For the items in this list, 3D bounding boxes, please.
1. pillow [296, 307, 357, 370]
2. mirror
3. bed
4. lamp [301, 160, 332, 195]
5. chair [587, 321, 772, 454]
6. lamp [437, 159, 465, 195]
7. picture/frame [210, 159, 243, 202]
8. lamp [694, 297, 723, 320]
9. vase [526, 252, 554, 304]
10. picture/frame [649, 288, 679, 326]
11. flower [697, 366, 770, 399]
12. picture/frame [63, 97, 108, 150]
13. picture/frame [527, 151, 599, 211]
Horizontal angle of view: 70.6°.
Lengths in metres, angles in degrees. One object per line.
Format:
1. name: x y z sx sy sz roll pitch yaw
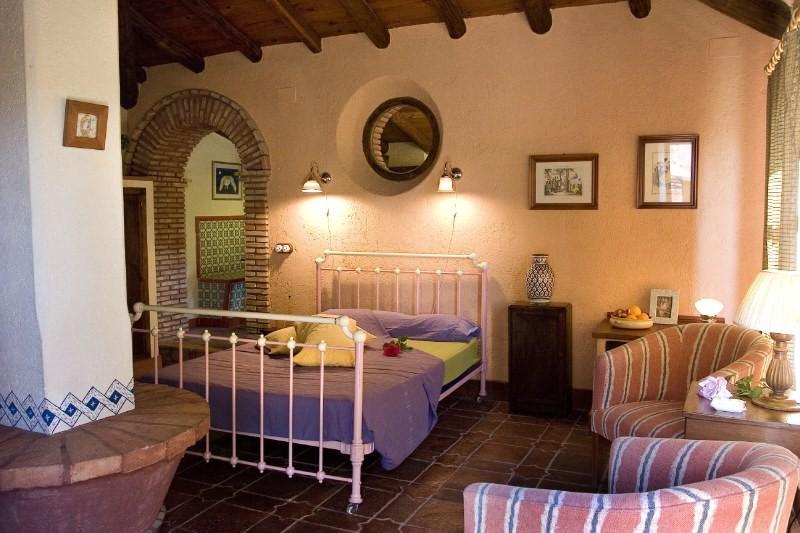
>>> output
1. pillow: -0.632 0.603 4.486 0.509 0.159 0.549 2 9 11
2. mirror: 0.039 -1.430 6.270 1.051 0.970 0.113 1 3 25
3. bed: -0.398 0.842 5.009 2.175 1.412 2.670 2 4 24
4. lamp: -0.914 -0.938 6.157 0.256 0.337 0.416 -6 -13 33
5. chair: 1.861 0.707 4.054 0.997 1.014 0.879 -1 4 -39
6. lamp: 0.509 -0.900 5.774 0.260 0.321 0.219 3 9 13
7. picture/frame: -2.720 -1.329 8.774 0.021 0.479 0.708 -7 8 21
8. lamp: 2.729 0.369 4.991 0.206 0.194 0.355 6 10 27
9. vase: 1.337 0.120 5.378 0.241 0.443 0.162 1 9 -2
10. picture/frame: 2.419 0.384 5.163 0.352 0.442 0.031 2 -7 22
11. flower: 2.020 0.710 3.413 0.341 0.142 0.209 1 -4 -6
12. picture/frame: -1.747 -0.785 3.117 0.045 0.305 0.338 7 6 33
13. picture/frame: 1.607 -0.826 5.453 0.645 0.497 0.049 1 5 18
